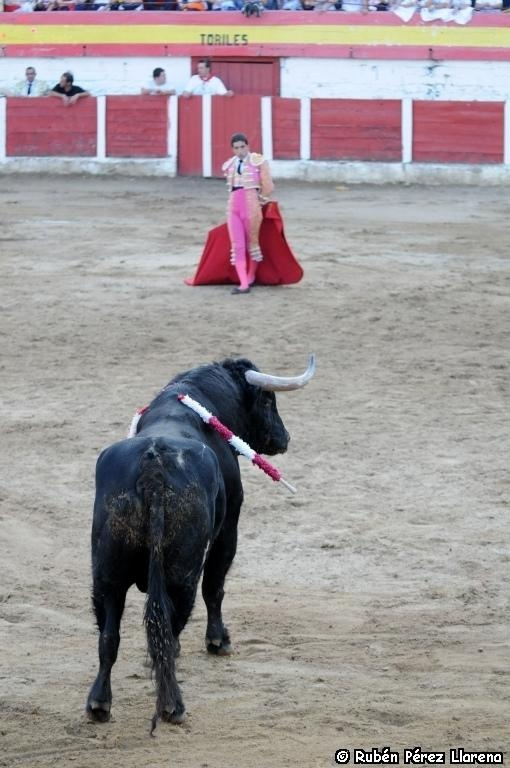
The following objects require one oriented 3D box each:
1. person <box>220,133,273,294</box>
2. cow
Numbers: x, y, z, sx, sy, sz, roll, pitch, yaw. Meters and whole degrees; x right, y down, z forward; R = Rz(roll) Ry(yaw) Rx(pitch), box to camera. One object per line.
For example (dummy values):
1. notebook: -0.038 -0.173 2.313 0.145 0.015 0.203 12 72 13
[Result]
1. person: -0.059 -1.198 10.816 0.325 1.126 0.870 -3 8 0
2. cow: 0.018 0.543 5.804 0.646 1.201 1.653 3 19 11
